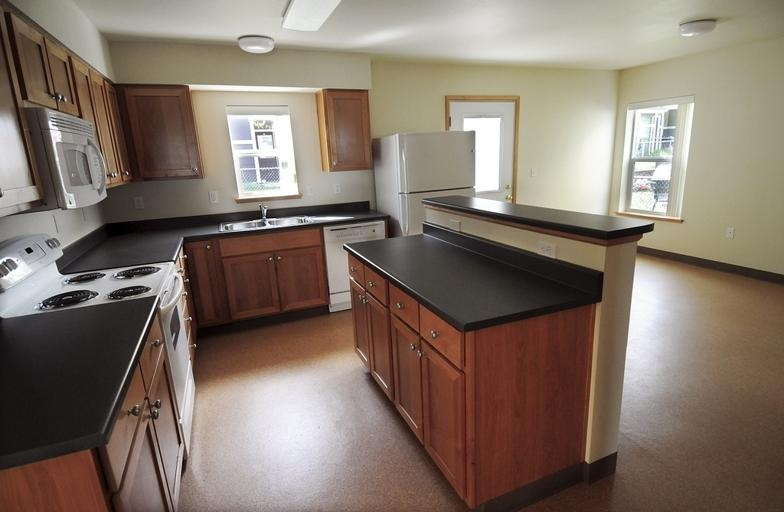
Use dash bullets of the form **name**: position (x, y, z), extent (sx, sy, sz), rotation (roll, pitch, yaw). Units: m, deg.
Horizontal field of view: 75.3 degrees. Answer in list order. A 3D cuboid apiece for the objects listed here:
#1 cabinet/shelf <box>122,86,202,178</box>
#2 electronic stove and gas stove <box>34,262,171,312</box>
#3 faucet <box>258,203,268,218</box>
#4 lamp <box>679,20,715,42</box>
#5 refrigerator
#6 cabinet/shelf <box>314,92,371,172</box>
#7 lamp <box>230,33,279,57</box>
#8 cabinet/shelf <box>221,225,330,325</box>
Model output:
- **cabinet/shelf**: position (-2.241, -1.213, 5.193), extent (0.813, 1.171, 0.783), rotation (-5, 10, -24)
- **electronic stove and gas stove**: position (-1.985, 0.200, 3.593), extent (0.842, 0.092, 0.623), rotation (-7, 16, -22)
- **faucet**: position (-1.377, -0.479, 5.465), extent (0.089, 0.168, 0.199), rotation (-5, 16, -13)
- **lamp**: position (2.927, -2.220, 4.907), extent (0.313, 0.103, 0.301), rotation (9, 18, 31)
- **refrigerator**: position (0.328, -0.782, 5.472), extent (1.108, 1.078, 0.609), rotation (0, 15, 5)
- **cabinet/shelf**: position (-0.511, -1.350, 5.428), extent (0.713, 1.023, 0.522), rotation (-5, 13, -19)
- **lamp**: position (-1.267, -2.002, 4.767), extent (0.295, 0.119, 0.267), rotation (-13, 20, -39)
- **cabinet/shelf**: position (-1.232, 0.095, 5.319), extent (1.016, 0.868, 0.569), rotation (-9, 23, -19)
